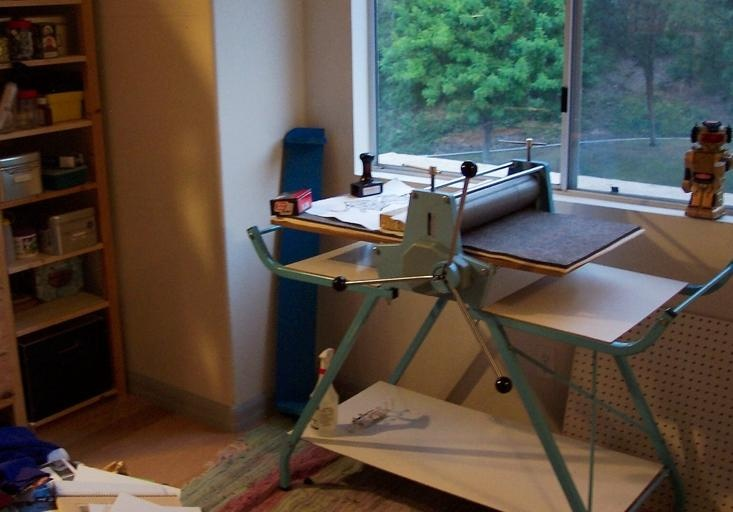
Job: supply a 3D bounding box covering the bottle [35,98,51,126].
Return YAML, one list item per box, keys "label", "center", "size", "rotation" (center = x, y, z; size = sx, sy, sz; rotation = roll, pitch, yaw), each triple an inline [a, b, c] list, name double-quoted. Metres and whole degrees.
- label: "bottle"
  center: [-1.625, -0.729, 3.013]
  size: [0.067, 0.136, 0.029]
  rotation: [-13, 24, -27]
